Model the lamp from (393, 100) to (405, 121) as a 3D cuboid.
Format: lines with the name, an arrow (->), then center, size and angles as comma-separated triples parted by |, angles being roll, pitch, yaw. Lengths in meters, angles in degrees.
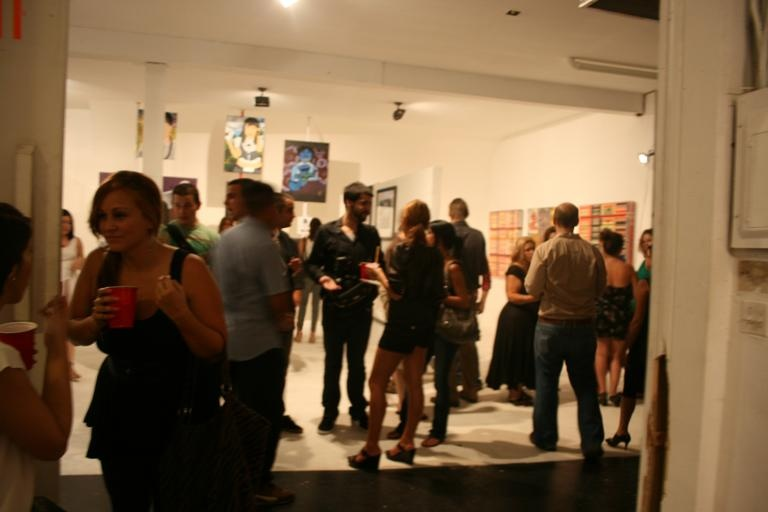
lamp -> 0.156, -1.605, 7.099 | 0.205, 0.177, 0.140 | 0, -5, -6

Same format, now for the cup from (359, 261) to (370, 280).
cup -> -0.139, 0.106, 4.733 | 0.103, 0.123, 0.121 | -1, 4, 1

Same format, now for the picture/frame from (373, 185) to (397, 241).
picture/frame -> 0.019, -0.511, 7.356 | 0.038, 0.659, 0.703 | -2, 5, -22

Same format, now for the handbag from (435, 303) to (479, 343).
handbag -> 0.566, 0.517, 4.890 | 0.338, 0.286, 0.151 | 0, 8, -26

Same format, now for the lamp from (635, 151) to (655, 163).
lamp -> 2.585, -0.992, 6.415 | 0.109, 0.137, 0.195 | 5, 8, 15

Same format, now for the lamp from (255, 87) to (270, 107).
lamp -> -1.278, -1.675, 6.778 | 0.129, 0.170, 0.334 | 2, 8, -14

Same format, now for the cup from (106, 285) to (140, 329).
cup -> -1.171, 0.230, 2.891 | 0.176, 0.160, 0.172 | -3, -1, 0

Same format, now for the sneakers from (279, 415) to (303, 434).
sneakers -> -0.722, 1.308, 5.171 | 0.152, 0.130, 0.263 | 3, 8, -3

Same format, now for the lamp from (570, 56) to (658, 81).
lamp -> 2.145, -1.739, 5.975 | 1.091, 0.094, 0.288 | 0, 8, -19
